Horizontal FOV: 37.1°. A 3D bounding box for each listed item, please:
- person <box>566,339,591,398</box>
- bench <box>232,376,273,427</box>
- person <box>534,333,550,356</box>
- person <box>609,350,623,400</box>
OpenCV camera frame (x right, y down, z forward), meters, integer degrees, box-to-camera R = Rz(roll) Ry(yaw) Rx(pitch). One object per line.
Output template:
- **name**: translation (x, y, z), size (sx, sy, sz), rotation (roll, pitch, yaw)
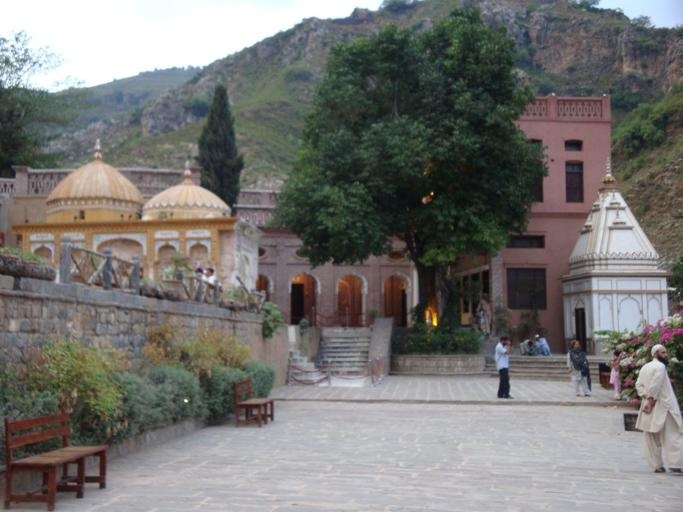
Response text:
- **person**: translation (7.920, 3.691, 33.962), size (0.684, 1.841, 1.006), rotation (-2, -5, 13)
- **bench**: translation (-2.457, 4.120, 28.848), size (0.656, 1.343, 1.847), rotation (-3, -4, 7)
- **person**: translation (8.415, 3.755, 42.897), size (0.717, 1.324, 0.901), rotation (0, -20, 13)
- **person**: translation (8.958, 3.812, 33.346), size (0.314, 1.543, 2.326), rotation (-2, -5, 14)
